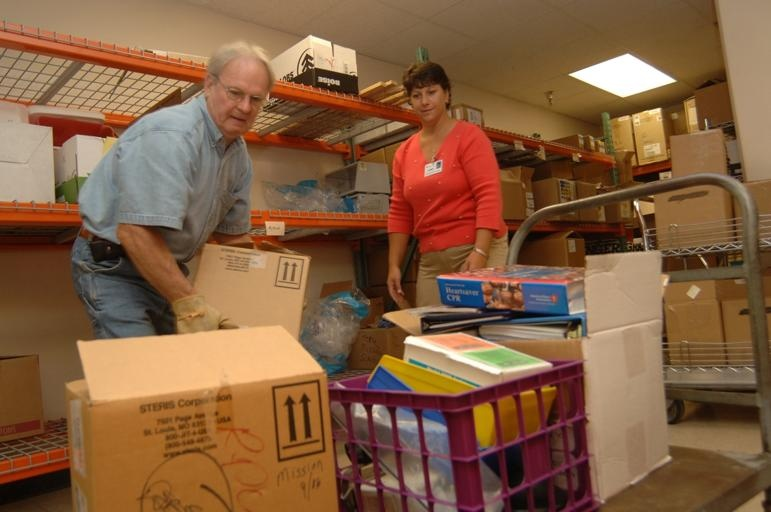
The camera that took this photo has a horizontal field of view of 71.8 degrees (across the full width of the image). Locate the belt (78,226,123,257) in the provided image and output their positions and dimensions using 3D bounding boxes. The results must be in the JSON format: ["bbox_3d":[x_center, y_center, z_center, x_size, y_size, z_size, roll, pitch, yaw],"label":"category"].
[{"bbox_3d":[-0.910,-0.043,1.725,0.117,0.111,0.035,20,15,17],"label":"belt"}]

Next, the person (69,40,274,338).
[{"bbox_3d":[-0.663,-0.230,1.836,0.534,0.759,0.597,-2,0,39],"label":"person"}]

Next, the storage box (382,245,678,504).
[{"bbox_3d":[0.440,0.237,1.282,0.484,0.294,0.490,-5,-4,43],"label":"storage box"}]

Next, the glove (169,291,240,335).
[{"bbox_3d":[-0.515,0.162,1.500,0.160,0.061,0.156,4,2,2],"label":"glove"}]
